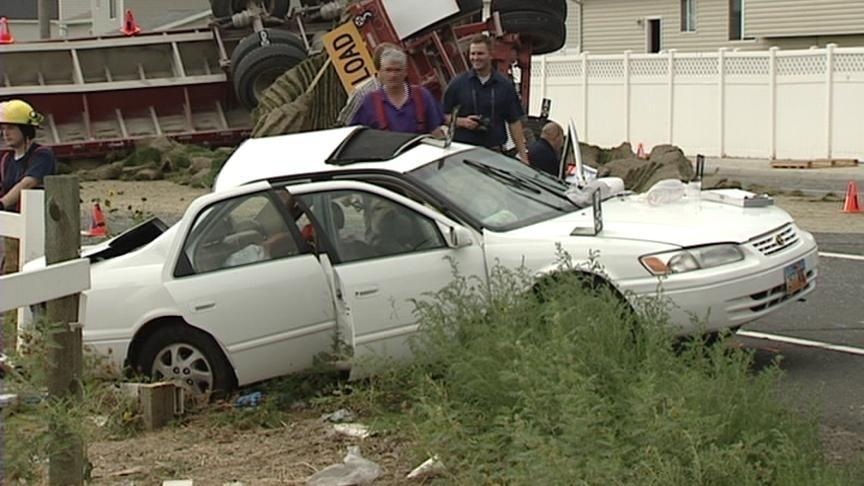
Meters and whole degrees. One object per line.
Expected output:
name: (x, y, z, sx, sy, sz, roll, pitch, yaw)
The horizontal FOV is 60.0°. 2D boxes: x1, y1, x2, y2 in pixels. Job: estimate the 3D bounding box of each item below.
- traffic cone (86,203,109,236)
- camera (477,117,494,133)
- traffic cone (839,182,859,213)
traffic cone: (-6.156, -0.437, 13.885, 0.318, 0.375, 1.029, 2, 18, -13)
camera: (0.700, -1.582, 9.847, 0.199, 0.180, 0.163, -6, 35, 1)
traffic cone: (7.943, -0.870, 14.205, 0.309, 0.541, 0.686, 1, 8, 28)
